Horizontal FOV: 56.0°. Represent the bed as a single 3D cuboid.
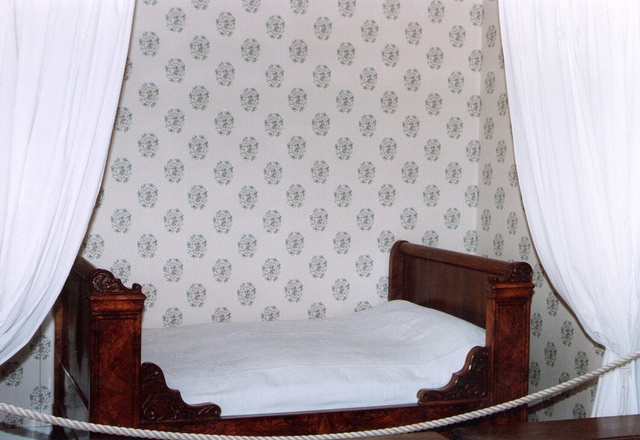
[{"bbox_3d":[-0.085,0.706,3.381,2.018,1.217,1.485,-1,3,-14],"label":"bed"}]
